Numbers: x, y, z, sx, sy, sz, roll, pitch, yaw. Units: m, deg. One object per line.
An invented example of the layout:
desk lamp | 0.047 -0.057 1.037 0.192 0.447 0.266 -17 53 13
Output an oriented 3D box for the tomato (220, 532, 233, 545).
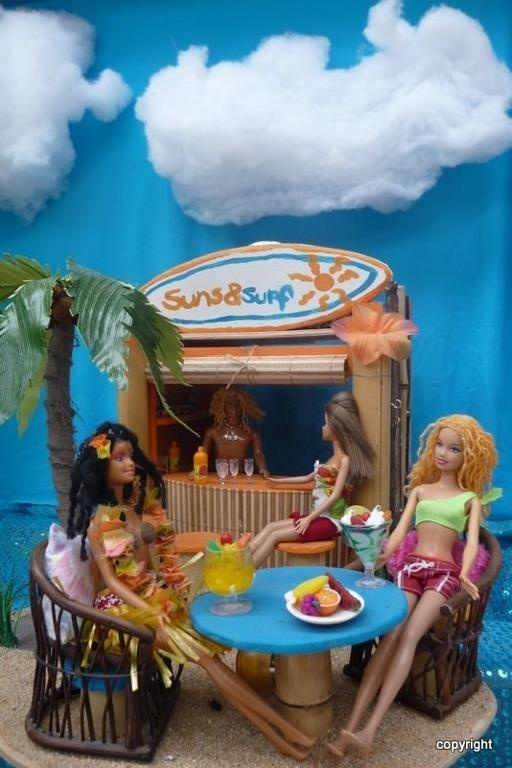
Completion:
tomato | -0.124 0.582 2.365 0.047 0.056 0.047 -8 -19 19

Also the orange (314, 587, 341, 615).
orange | 0.271 0.808 2.328 0.093 0.075 0.142 0 -4 6
